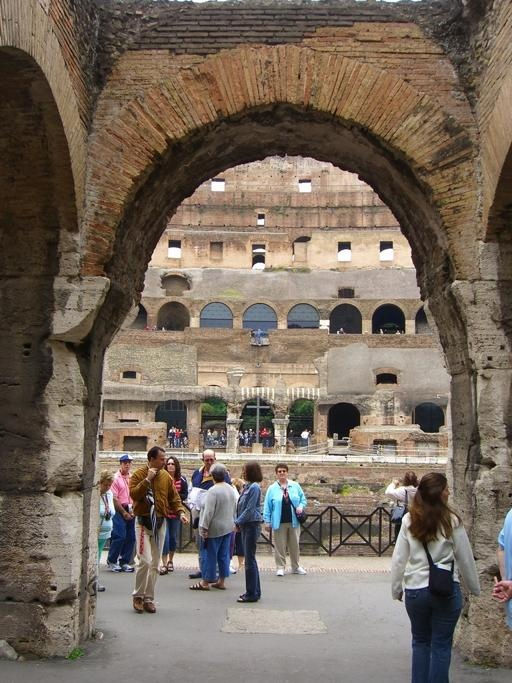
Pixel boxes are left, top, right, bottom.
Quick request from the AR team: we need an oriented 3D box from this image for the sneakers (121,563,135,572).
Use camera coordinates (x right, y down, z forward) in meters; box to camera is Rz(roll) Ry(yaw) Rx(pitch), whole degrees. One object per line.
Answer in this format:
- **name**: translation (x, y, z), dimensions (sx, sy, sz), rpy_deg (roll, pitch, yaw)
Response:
- **sneakers**: translation (-1.124, 1.974, 11.762), dimensions (0.134, 0.058, 0.049), rpy_deg (1, -4, 14)

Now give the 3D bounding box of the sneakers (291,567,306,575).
- **sneakers**: translation (0.369, 2.067, 12.164), dimensions (0.120, 0.051, 0.058), rpy_deg (-2, -3, 21)

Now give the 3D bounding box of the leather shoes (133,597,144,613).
- **leather shoes**: translation (-0.844, 1.879, 9.637), dimensions (0.048, 0.095, 0.134), rpy_deg (3, -28, -8)

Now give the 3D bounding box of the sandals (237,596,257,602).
- **sandals**: translation (-0.084, 1.932, 10.088), dimensions (0.112, 0.042, 0.056), rpy_deg (5, -14, 4)

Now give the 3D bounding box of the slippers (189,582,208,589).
- **slippers**: translation (-0.464, 1.927, 10.664), dimensions (0.131, 0.050, 0.059), rpy_deg (0, -13, 18)

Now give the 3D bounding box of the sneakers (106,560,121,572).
- **sneakers**: translation (-1.253, 1.981, 11.799), dimensions (0.056, 0.068, 0.162), rpy_deg (4, -11, -37)

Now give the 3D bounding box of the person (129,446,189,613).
- **person**: translation (-0.727, 1.358, 9.668), dimensions (0.367, 1.156, 0.906), rpy_deg (0, -10, -1)

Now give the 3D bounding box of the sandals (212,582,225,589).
- **sandals**: translation (-0.308, 1.941, 10.775), dimensions (0.103, 0.039, 0.047), rpy_deg (6, -1, 25)

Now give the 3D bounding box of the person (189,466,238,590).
- **person**: translation (-0.335, 1.445, 10.416), dimensions (0.358, 0.951, 0.905), rpy_deg (0, -10, -2)

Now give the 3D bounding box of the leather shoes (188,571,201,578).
- **leather shoes**: translation (-0.521, 1.964, 11.367), dimensions (0.139, 0.053, 0.045), rpy_deg (2, -16, -5)
